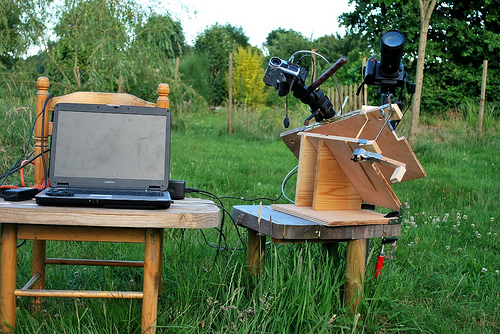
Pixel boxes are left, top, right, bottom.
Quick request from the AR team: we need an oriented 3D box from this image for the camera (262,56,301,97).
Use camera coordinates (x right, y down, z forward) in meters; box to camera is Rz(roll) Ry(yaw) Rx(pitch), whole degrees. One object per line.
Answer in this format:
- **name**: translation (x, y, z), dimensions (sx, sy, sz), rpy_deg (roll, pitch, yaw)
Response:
- **camera**: translation (0.321, -0.900, 5.716), dimensions (0.367, 0.385, 0.168), rpy_deg (24, 14, 6)
